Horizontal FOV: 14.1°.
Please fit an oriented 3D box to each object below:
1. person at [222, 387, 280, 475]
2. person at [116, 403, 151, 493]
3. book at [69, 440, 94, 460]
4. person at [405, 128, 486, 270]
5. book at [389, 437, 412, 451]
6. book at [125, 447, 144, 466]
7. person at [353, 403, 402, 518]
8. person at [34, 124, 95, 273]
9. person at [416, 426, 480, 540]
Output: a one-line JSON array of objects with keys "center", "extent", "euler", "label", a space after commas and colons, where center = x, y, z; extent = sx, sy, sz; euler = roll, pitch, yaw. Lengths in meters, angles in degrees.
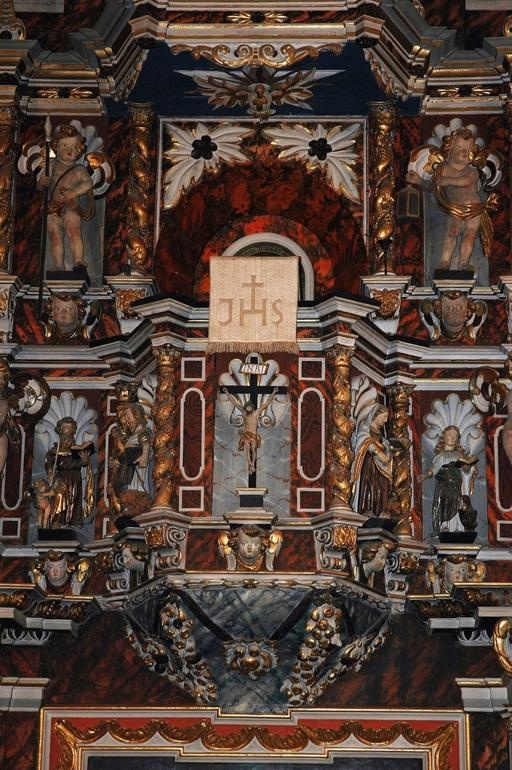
[{"center": [-0.029, 0.404, 17.700], "extent": [0.351, 0.754, 0.345], "euler": [-15, -26, 37], "label": "person"}, {"center": [-1.016, 0.527, 17.847], "extent": [0.367, 0.848, 0.254], "euler": [-4, -21, 14], "label": "person"}, {"center": [-1.498, 0.580, 18.287], "extent": [0.156, 0.062, 0.157], "euler": [-5, -44, -10], "label": "book"}, {"center": [1.815, -1.751, 18.968], "extent": [0.831, 1.606, 0.463], "euler": [0, -21, 3], "label": "person"}, {"center": [1.249, 0.529, 17.984], "extent": [0.128, 0.055, 0.127], "euler": [7, -15, -18], "label": "book"}, {"center": [-1.018, 0.612, 17.721], "extent": [0.128, 0.149, 0.158], "euler": [4, -27, -10], "label": "book"}, {"center": [1.020, 0.648, 17.716], "extent": [0.541, 1.039, 0.207], "euler": [20, -28, -41], "label": "person"}, {"center": [-1.741, -1.672, 19.035], "extent": [0.527, 1.434, 0.556], "euler": [7, -21, -16], "label": "person"}, {"center": [1.704, 0.831, 18.091], "extent": [0.464, 1.034, 0.309], "euler": [0, -21, 4], "label": "person"}]
